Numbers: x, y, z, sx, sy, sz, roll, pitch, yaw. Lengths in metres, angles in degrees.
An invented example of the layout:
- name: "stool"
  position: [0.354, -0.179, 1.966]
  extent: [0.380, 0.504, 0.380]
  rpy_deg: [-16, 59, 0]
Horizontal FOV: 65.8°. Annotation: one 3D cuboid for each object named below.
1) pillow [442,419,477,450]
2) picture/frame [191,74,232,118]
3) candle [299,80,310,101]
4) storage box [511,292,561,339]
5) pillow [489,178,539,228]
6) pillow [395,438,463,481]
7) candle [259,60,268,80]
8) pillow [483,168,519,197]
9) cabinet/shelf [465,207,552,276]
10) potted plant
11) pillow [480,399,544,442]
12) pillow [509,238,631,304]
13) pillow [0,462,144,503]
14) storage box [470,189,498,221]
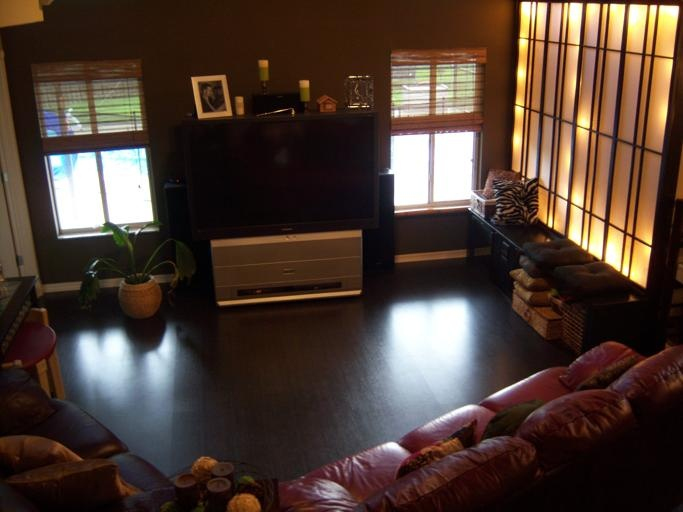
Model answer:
- name: "pillow"
  position: [0.651, 0.961, 2.833]
  extent: [0.198, 0.122, 0.060]
  rpy_deg: [-41, -4, -42]
- name: "picture/frame"
  position: [-1.288, -1.582, 5.274]
  extent: [0.336, 0.406, 0.384]
  rpy_deg: [-10, 18, -15]
- name: "candle"
  position: [-0.380, -1.681, 5.419]
  extent: [0.088, 0.204, 0.149]
  rpy_deg: [-8, 17, -11]
- name: "storage box"
  position: [1.880, 0.609, 5.036]
  extent: [0.304, 0.119, 0.479]
  rpy_deg: [-7, 25, -14]
- name: "pillow"
  position: [1.926, -0.562, 5.851]
  extent: [0.539, 0.617, 0.218]
  rpy_deg: [0, -1, 0]
- name: "pillow"
  position: [0.467, 1.037, 2.684]
  extent: [0.384, 0.118, 0.141]
  rpy_deg: [-12, 19, -22]
- name: "candle"
  position: [-0.799, -1.917, 5.471]
  extent: [0.090, 0.222, 0.338]
  rpy_deg: [-6, 17, -4]
- name: "pillow"
  position: [1.811, -0.831, 6.184]
  extent: [0.350, 0.354, 0.093]
  rpy_deg: [16, 6, 37]
- name: "cabinet/shelf"
  position: [1.841, -0.159, 5.731]
  extent: [0.233, 0.365, 0.686]
  rpy_deg: [-11, 30, -13]
- name: "potted plant"
  position: [-2.145, 0.186, 5.680]
  extent: [1.191, 1.046, 0.987]
  rpy_deg: [-4, 8, -31]
- name: "pillow"
  position: [0.929, 0.949, 2.896]
  extent: [0.275, 0.085, 0.225]
  rpy_deg: [-31, 9, 30]
- name: "pillow"
  position: [2.052, 0.149, 4.823]
  extent: [0.523, 0.207, 0.700]
  rpy_deg: [-10, 24, -9]
- name: "pillow"
  position: [-1.260, 1.060, 2.480]
  extent: [0.343, 0.117, 0.246]
  rpy_deg: [8, -3, -32]
- name: "storage box"
  position: [1.645, -0.583, 6.136]
  extent: [0.267, 0.189, 0.416]
  rpy_deg: [-4, 24, -9]
